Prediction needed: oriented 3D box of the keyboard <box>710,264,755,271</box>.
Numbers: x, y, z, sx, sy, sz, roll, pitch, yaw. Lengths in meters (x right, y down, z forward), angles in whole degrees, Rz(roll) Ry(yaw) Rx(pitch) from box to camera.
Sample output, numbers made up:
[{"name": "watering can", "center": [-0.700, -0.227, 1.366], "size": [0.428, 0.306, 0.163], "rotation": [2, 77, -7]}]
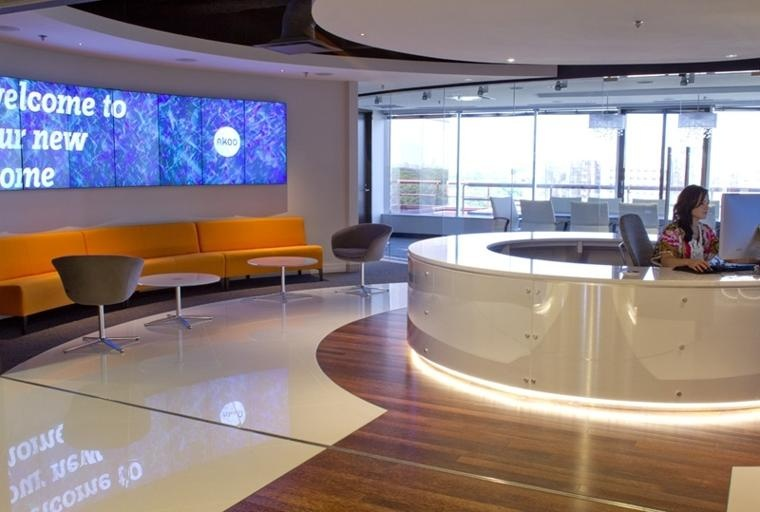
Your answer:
[{"name": "keyboard", "center": [2.982, 0.105, 4.384], "size": [0.235, 0.052, 0.147], "rotation": [0, 3, 11]}]

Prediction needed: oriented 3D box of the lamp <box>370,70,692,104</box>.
[{"name": "lamp", "center": [2.515, -3.108, 9.385], "size": [5.454, 0.371, 0.410], "rotation": [5, 13, 26]}]

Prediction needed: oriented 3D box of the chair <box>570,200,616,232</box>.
[{"name": "chair", "center": [3.645, -0.688, 8.989], "size": [0.530, 0.698, 0.589], "rotation": [1, 11, 17]}]

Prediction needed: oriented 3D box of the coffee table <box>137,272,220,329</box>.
[{"name": "coffee table", "center": [-2.599, 0.485, 6.760], "size": [0.850, 0.488, 0.830], "rotation": [3, 5, 10]}]

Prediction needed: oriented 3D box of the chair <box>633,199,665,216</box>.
[{"name": "chair", "center": [4.549, -0.817, 8.783], "size": [0.542, 0.351, 0.282], "rotation": [1, 2, 19]}]

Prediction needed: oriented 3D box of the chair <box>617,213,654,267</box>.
[{"name": "chair", "center": [2.493, -0.144, 5.050], "size": [0.311, 0.508, 0.664], "rotation": [5, 13, 26]}]

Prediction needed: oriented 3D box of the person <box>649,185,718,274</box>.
[{"name": "person", "center": [2.869, -0.190, 4.766], "size": [0.712, 0.835, 0.556], "rotation": [-3, 6, -6]}]

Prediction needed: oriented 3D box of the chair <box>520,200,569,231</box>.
[{"name": "chair", "center": [3.038, -0.778, 9.598], "size": [0.656, 0.814, 0.626], "rotation": [6, 12, 32]}]

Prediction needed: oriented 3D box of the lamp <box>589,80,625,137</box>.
[{"name": "lamp", "center": [3.867, -2.528, 8.781], "size": [0.575, 0.919, 0.160], "rotation": [4, 13, 21]}]

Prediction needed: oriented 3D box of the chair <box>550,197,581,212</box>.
[{"name": "chair", "center": [3.210, -0.910, 9.117], "size": [0.319, 0.189, 0.321], "rotation": [4, 8, 28]}]
